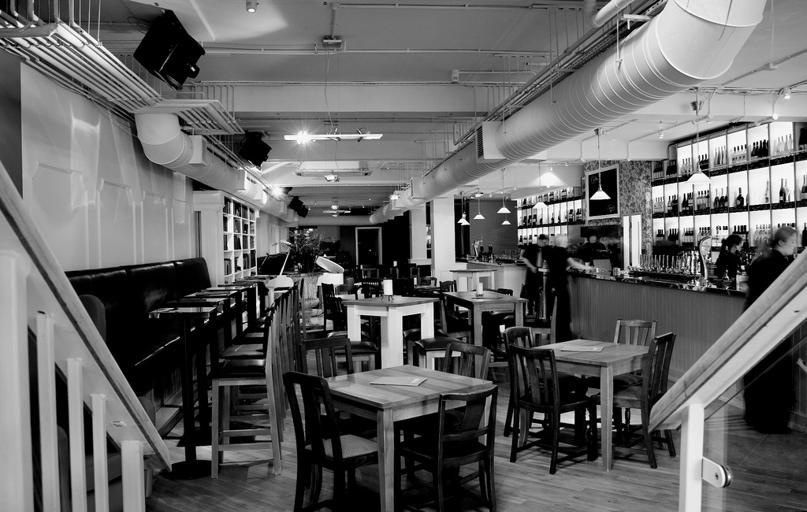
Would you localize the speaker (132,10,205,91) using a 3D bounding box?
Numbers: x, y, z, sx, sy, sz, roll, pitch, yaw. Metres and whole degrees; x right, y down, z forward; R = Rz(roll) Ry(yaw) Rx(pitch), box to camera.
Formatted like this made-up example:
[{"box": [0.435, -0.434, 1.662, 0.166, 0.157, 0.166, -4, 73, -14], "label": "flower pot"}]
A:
[{"box": [-2.486, -2.235, 6.829, 0.349, 0.734, 0.670, -2, -3, 35], "label": "speaker"}]

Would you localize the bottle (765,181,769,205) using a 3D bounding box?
[{"box": [6.143, -1.078, 10.736, 0.062, 0.374, 0.243, -1, -3, 21], "label": "bottle"}]

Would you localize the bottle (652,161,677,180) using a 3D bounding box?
[{"box": [5.573, -1.855, 13.588, 0.428, 0.330, 0.423, 1, -1, 0], "label": "bottle"}]

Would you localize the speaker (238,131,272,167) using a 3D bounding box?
[{"box": [-2.602, -1.930, 11.106, 0.483, 0.726, 1.073, 1, -3, -14], "label": "speaker"}]
